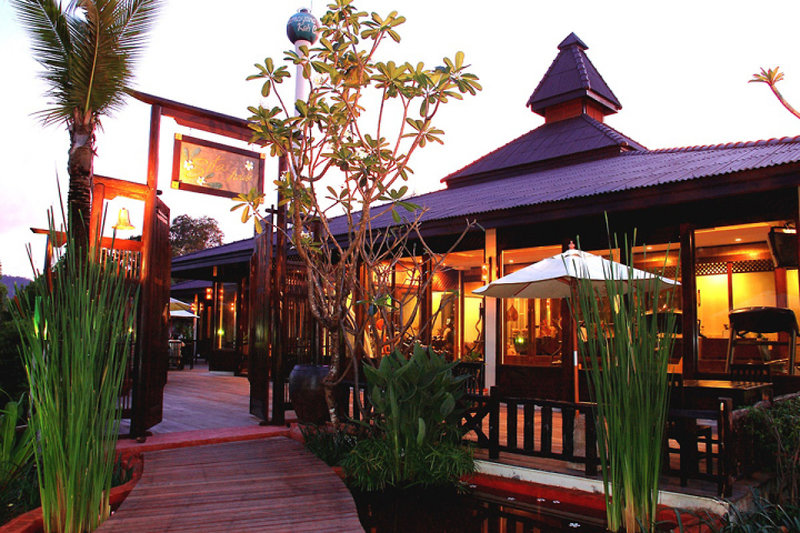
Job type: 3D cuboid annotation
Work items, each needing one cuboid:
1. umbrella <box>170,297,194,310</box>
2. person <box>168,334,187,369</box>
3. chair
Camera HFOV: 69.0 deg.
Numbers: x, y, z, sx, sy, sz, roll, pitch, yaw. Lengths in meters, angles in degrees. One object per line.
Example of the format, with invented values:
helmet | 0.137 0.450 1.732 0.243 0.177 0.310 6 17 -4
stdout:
umbrella | -7.385 1.249 19.686 0.597 0.295 0.598 0 -13 10
person | -6.696 2.633 17.498 0.456 0.880 1.615 4 -10 -20
chair | 3.114 1.766 6.197 0.296 0.858 0.278 14 -33 -30
